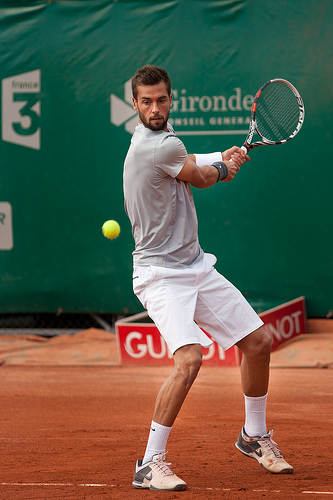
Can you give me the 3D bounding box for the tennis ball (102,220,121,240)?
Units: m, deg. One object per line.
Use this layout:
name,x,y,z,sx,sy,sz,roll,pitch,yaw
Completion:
tennis ball,-0.433,-0.161,4.127,0.146,0.147,0.137,-5,10,1

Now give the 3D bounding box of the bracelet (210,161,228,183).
bracelet,0.239,-0.333,2.295,0.075,0.077,0.062,-18,-5,36

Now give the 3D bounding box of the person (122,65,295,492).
person,0.095,0.100,2.151,0.651,1.665,0.418,-6,7,-21

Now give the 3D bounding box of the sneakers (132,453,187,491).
sneakers,-0.035,0.840,2.065,0.261,0.135,0.097,-6,-12,37
